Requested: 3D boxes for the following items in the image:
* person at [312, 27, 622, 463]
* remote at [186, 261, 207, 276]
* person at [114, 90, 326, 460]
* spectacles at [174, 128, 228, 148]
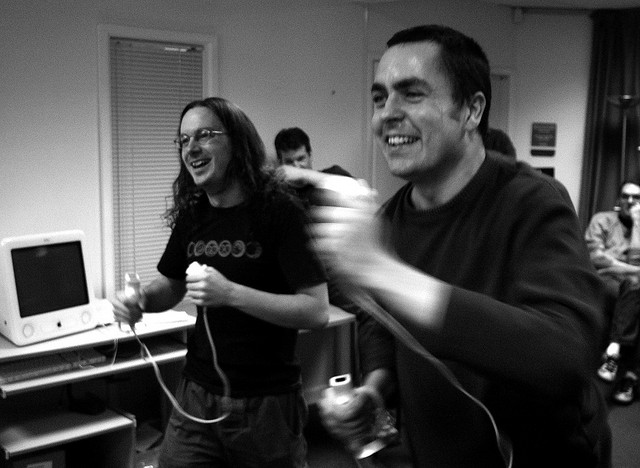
[{"bbox_3d":[0.256,0.041,1.006,0.540,0.855,0.465,-3,8,-1],"label":"person"},{"bbox_3d":[-0.439,0.124,1.897,0.051,0.014,0.056,-27,53,-15],"label":"remote"},{"bbox_3d":[-0.372,0.143,2.054,0.773,1.331,0.519,5,11,44],"label":"person"},{"bbox_3d":[-0.494,-0.381,2.147,0.247,0.070,0.107,2,9,33],"label":"spectacles"}]
